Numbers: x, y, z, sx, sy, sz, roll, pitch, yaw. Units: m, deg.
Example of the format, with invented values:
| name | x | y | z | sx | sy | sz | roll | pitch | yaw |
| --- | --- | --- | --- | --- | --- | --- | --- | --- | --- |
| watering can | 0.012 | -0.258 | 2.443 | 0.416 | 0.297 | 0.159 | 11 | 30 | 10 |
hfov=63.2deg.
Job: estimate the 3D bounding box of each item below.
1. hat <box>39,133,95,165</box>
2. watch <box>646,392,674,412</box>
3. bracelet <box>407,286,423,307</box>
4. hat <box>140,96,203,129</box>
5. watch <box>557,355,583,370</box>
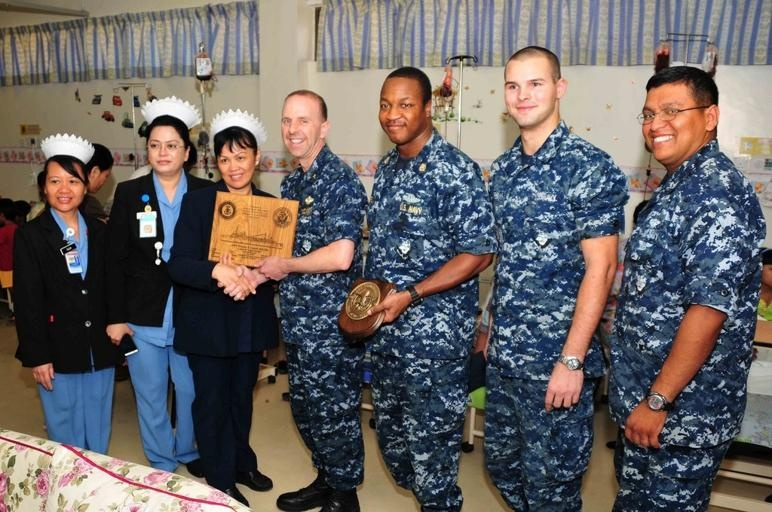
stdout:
| name | x | y | z | sx | sy | sz | roll | pitch | yaw |
| --- | --- | --- | --- | --- | --- | --- | --- | --- | --- |
| hat | -1.916 | -0.642 | 3.785 | 0.257 | 0.182 | 0.242 | -7 | 12 | -34 |
| watch | 1.215 | 0.649 | 2.797 | 0.088 | 0.052 | 0.085 | 12 | -19 | 36 |
| bracelet | 0.149 | 0.209 | 3.234 | 0.096 | 0.068 | 0.099 | 60 | -9 | 36 |
| hat | -1.342 | -0.929 | 4.052 | 0.309 | 0.127 | 0.299 | 9 | -20 | 8 |
| watch | 0.886 | 0.507 | 3.027 | 0.095 | 0.058 | 0.092 | 27 | -5 | 20 |
